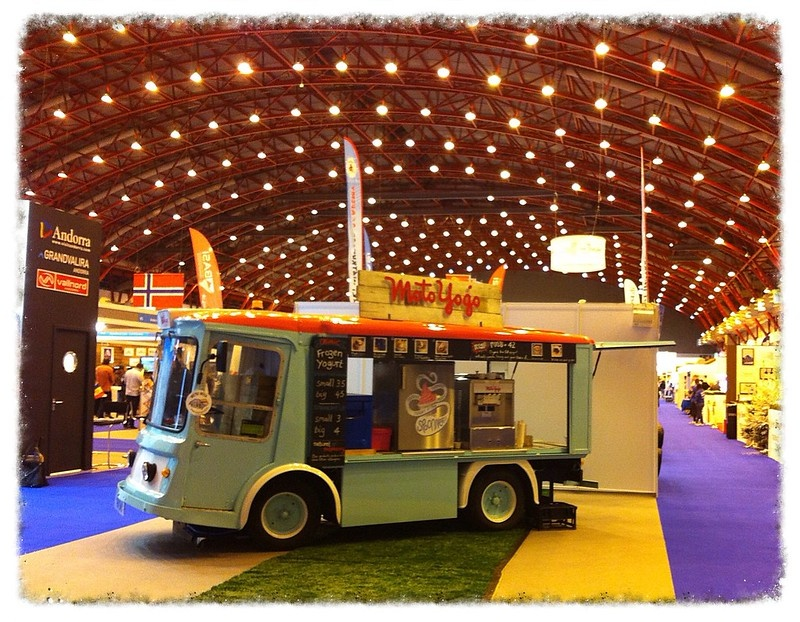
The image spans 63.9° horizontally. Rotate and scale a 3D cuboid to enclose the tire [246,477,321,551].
[{"bbox_3d":[-1.309,2.211,7.043,0.599,0.596,0.205,43,-23,-8],"label":"tire"}]
